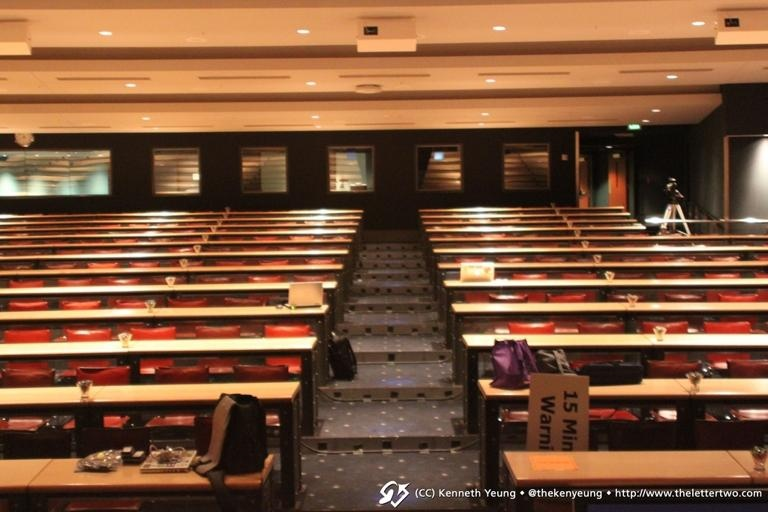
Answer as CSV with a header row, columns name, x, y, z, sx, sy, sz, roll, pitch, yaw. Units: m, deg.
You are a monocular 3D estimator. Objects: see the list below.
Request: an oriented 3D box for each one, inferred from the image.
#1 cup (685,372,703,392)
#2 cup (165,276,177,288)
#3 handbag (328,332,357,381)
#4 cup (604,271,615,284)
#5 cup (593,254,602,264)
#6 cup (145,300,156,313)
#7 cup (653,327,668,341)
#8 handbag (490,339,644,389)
name,x,y,z,sx,sy,sz,roll,pitch,yaw
cup,2.717,1.105,6.109,0.187,0.140,0.166,2,1,-6
cup,-2.970,0.345,9.559,0.207,0.133,0.204,1,0,0
handbag,-0.492,1.221,8.432,0.215,0.513,0.426,-18,5,30
cup,3.111,0.288,9.422,0.202,0.156,0.157,0,2,4
cup,3.270,0.051,10.619,0.167,0.128,0.064,-1,-2,-2
cup,-2.819,0.605,8.417,0.192,0.165,0.170,0,-1,-2
cup,2.878,0.805,7.191,0.175,0.145,0.157,1,2,-17
handbag,1.570,0.918,6.389,0.923,0.267,0.625,-1,-1,2
